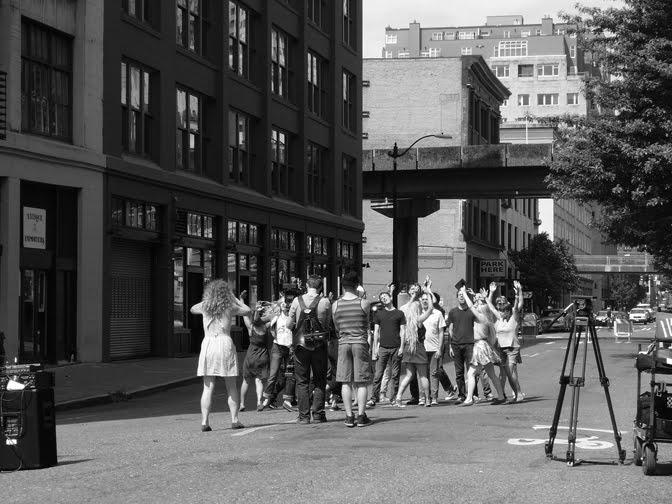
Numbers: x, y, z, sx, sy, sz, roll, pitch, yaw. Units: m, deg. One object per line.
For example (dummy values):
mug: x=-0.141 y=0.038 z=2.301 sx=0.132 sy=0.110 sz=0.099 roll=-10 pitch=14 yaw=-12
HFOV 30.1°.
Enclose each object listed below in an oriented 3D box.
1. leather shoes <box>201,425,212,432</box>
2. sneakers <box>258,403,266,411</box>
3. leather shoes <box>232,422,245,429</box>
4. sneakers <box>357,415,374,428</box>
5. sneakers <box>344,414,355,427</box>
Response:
leather shoes: x=-2.380 y=3.239 z=22.881 sx=0.195 sy=0.098 sz=0.234 roll=9 pitch=3 yaw=-6
sneakers: x=-1.538 y=3.229 z=25.779 sx=0.122 sy=0.136 sz=0.097 roll=1 pitch=-1 yaw=13
leather shoes: x=-1.839 y=3.224 z=23.113 sx=0.084 sy=0.106 sz=0.247 roll=0 pitch=0 yaw=30
sneakers: x=0.531 y=3.155 z=23.354 sx=0.119 sy=0.168 sz=0.356 roll=1 pitch=3 yaw=27
sneakers: x=0.247 y=3.150 z=23.278 sx=0.200 sy=0.253 sz=0.548 roll=1 pitch=-2 yaw=4
